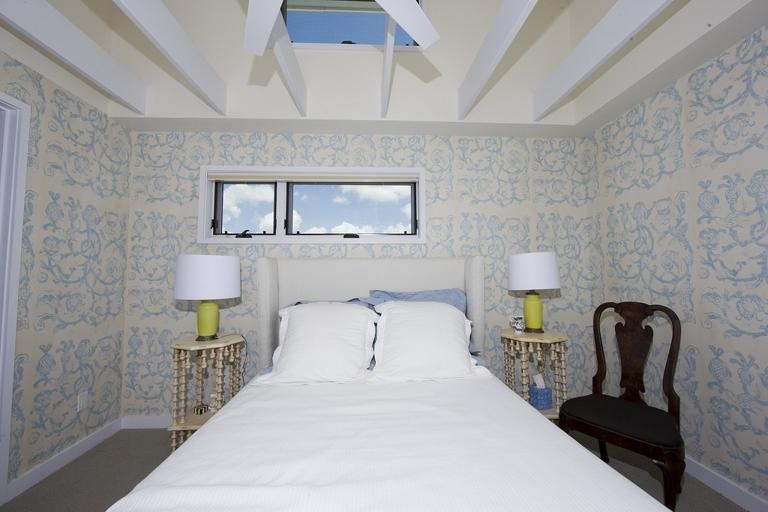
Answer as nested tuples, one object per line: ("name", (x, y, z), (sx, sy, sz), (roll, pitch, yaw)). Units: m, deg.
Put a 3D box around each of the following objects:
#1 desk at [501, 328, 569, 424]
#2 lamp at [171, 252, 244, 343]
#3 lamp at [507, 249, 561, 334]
("desk", (1.448, 1.054, 4.474), (0.525, 0.575, 0.507), (0, -10, -32))
("lamp", (-1.394, 0.343, 4.447), (0.664, 0.828, 0.682), (2, 0, 9))
("lamp", (1.374, 0.357, 4.461), (0.468, 0.698, 0.481), (0, -12, 6))
